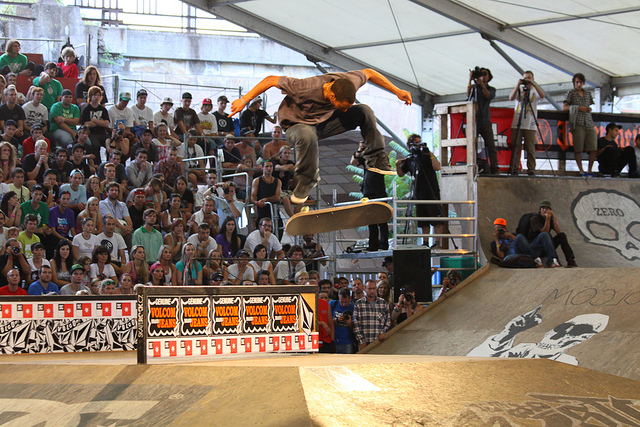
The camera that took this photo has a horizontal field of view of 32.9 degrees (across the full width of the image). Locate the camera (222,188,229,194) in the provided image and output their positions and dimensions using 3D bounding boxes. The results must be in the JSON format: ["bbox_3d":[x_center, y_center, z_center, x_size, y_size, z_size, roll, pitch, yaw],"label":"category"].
[{"bbox_3d":[-2.207,-0.517,25.607,0.106,0.114,0.199,5,9,14],"label":"camera"}]

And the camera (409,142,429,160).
[{"bbox_3d":[2.284,-1.423,25.050,0.366,0.308,0.630,1,-2,1],"label":"camera"}]

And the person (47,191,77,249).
[{"bbox_3d":[-5.695,0.143,23.992,0.612,1.238,0.363,-3,2,-31],"label":"person"}]

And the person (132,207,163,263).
[{"bbox_3d":[-3.805,0.513,24.114,0.677,1.196,0.398,-3,2,-24],"label":"person"}]

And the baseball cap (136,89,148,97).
[{"bbox_3d":[-4.411,-3.009,26.945,0.228,0.219,0.578,-2,2,-11],"label":"baseball cap"}]

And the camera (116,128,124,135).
[{"bbox_3d":[-4.813,-1.990,26.235,0.167,0.160,0.147,-2,2,-16],"label":"camera"}]

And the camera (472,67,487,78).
[{"bbox_3d":[3.709,-3.279,25.148,0.379,0.240,0.100,-3,2,-27],"label":"camera"}]

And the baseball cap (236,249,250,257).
[{"bbox_3d":[-1.734,0.928,24.400,0.186,0.111,0.144,-18,-7,13],"label":"baseball cap"}]

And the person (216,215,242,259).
[{"bbox_3d":[-2.063,0.550,24.754,0.521,0.903,0.649,-2,2,2],"label":"person"}]

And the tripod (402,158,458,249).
[{"bbox_3d":[2.323,-0.324,25.108,1.468,2.483,1.070,-7,-7,28],"label":"tripod"}]

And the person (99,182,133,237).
[{"bbox_3d":[-4.591,-0.076,24.463,0.729,1.229,0.485,-2,2,-19],"label":"person"}]

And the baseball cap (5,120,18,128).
[{"bbox_3d":[-7.190,-2.101,25.334,0.246,0.186,0.314,-2,2,-10],"label":"baseball cap"}]

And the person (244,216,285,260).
[{"bbox_3d":[-1.331,0.680,24.741,0.884,1.095,0.842,-1,-6,21],"label":"person"}]

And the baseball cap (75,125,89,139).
[{"bbox_3d":[-5.631,-1.945,25.784,0.236,0.332,0.582,-2,2,-19],"label":"baseball cap"}]

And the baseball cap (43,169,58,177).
[{"bbox_3d":[-6.112,-0.913,24.704,0.339,0.169,0.301,-3,2,-23],"label":"baseball cap"}]

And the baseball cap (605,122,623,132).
[{"bbox_3d":[7.287,-2.164,26.909,0.309,0.179,0.245,3,-5,10],"label":"baseball cap"}]

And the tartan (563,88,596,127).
[{"bbox_3d":[6.383,-2.592,26.538,0.785,0.964,0.412,-3,2,-35],"label":"tartan"}]

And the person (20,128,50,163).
[{"bbox_3d":[-6.641,-1.568,25.282,0.668,0.941,0.533,-1,-10,6],"label":"person"}]

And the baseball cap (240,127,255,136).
[{"bbox_3d":[-1.880,-2.084,27.495,0.238,0.131,0.193,-4,-14,-12],"label":"baseball cap"}]

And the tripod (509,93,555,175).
[{"bbox_3d":[4.759,-1.877,25.452,0.642,1.753,0.619,-2,-6,-5],"label":"tripod"}]

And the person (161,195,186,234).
[{"bbox_3d":[-3.327,0.053,24.971,0.595,0.981,0.633,2,-1,-21],"label":"person"}]

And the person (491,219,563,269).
[{"bbox_3d":[4.486,0.672,24.000,0.747,1.288,1.574,-11,0,-42],"label":"person"}]

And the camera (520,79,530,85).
[{"bbox_3d":[4.795,-3.098,25.424,0.215,0.128,0.172,-2,2,10],"label":"camera"}]
